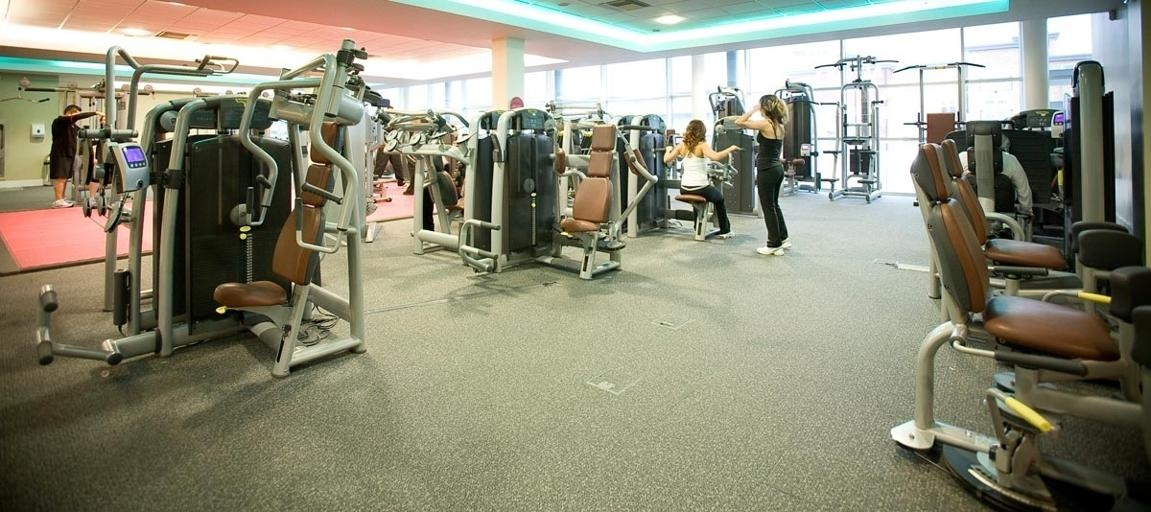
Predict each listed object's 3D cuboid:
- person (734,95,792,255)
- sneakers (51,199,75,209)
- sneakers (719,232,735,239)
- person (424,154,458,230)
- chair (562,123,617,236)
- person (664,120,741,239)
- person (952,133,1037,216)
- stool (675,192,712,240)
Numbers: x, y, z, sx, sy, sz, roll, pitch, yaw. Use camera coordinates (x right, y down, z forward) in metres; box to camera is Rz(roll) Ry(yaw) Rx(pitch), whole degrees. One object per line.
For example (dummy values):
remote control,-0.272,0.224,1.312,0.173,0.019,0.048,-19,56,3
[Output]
person,3.062,-1.354,11.016,0.861,2.485,1.187,2,13,14
sneakers,-10.261,-1.073,13.796,0.545,0.176,0.217,-2,9,-24
sneakers,2.616,-0.373,11.726,0.258,0.097,0.100,-11,17,-31
person,-2.282,-1.325,11.527,0.397,0.779,0.968,-8,-2,0
chair,0.188,-1.091,9.856,0.696,1.578,0.610,3,13,17
person,2.196,-1.334,11.632,1.069,1.997,0.862,6,14,27
person,6.177,-1.171,10.103,1.252,1.257,1.083,-6,16,-21
stool,2.151,-0.713,11.743,0.622,0.795,0.846,-4,20,24
